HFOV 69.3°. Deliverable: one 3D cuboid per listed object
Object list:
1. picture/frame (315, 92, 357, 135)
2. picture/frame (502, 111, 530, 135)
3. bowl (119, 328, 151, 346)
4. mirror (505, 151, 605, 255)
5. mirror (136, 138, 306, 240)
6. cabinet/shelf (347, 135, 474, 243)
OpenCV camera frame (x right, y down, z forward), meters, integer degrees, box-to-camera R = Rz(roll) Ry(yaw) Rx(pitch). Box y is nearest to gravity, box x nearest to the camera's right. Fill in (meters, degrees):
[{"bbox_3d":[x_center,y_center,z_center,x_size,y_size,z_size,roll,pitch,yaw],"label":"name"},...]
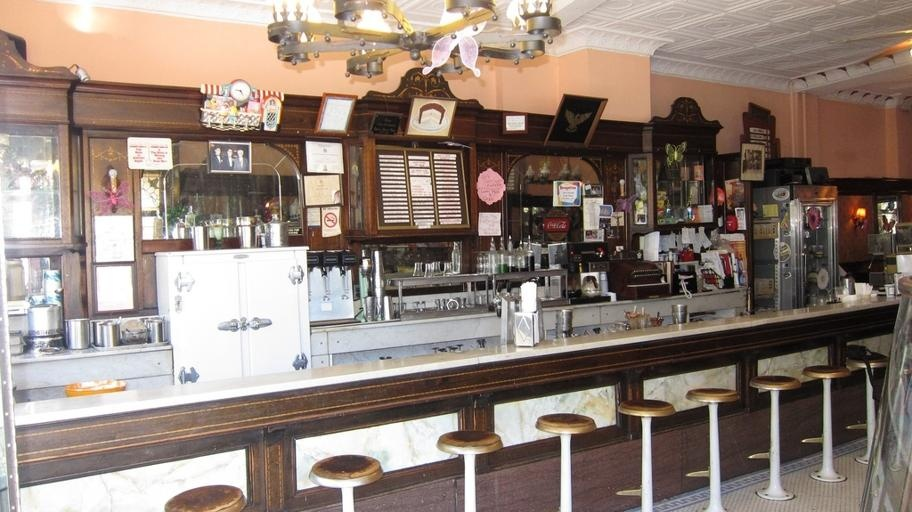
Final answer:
[{"bbox_3d":[-1.521,-1.780,8.290,0.385,0.451,0.353,-7,7,-40],"label":"picture/frame"},{"bbox_3d":[0.793,-1.846,9.153,0.420,0.297,0.027,-2,4,-8],"label":"picture/frame"},{"bbox_3d":[-3.622,0.910,7.406,0.254,0.099,0.188,1,-2,-39],"label":"bowl"},{"bbox_3d":[1.357,-0.771,9.629,1.849,1.515,0.079,-1,7,-16],"label":"mirror"},{"bbox_3d":[-2.975,-0.827,8.057,1.527,0.812,0.075,-3,6,-26],"label":"mirror"},{"bbox_3d":[-0.688,-0.887,8.682,1.710,1.069,0.560,0,-5,-26],"label":"cabinet/shelf"}]
